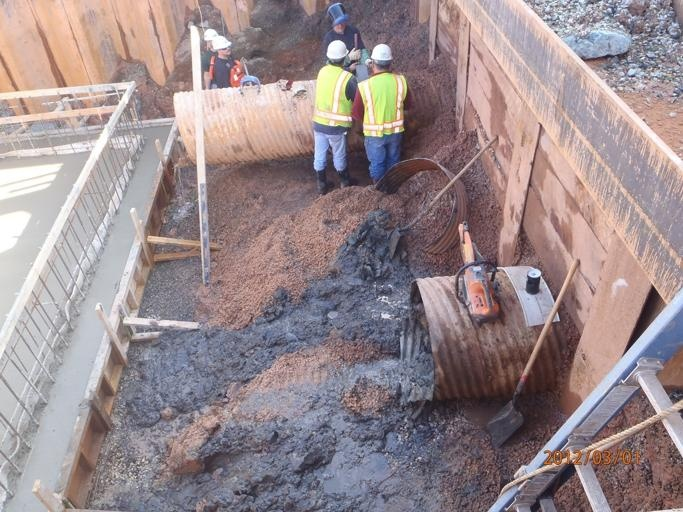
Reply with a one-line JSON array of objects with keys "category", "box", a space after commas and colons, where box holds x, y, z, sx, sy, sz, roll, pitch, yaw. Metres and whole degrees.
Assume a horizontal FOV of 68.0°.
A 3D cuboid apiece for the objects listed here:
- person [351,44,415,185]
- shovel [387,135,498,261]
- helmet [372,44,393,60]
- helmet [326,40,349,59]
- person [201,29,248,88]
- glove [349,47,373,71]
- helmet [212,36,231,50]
[{"category": "person", "box": [0.542, -1.851, 6.828, 0.660, 2.043, 0.766, -11, 38, -7]}, {"category": "shovel", "box": [1.262, -0.616, 6.042, 0.342, 1.466, 0.931, -6, 58, -51]}, {"category": "helmet", "box": [0.496, -2.528, 6.240, 0.215, 0.165, 0.283, 4, 43, 11]}, {"category": "helmet", "box": [-0.076, -2.694, 6.588, 0.241, 0.197, 0.284, -8, 41, -2]}, {"category": "person", "box": [-1.969, -3.107, 8.209, 0.765, 0.804, 0.389, 10, 40, 18]}, {"category": "glove", "box": [0.250, -2.852, 7.277, 0.287, 0.192, 0.495, 2, 71, -7]}, {"category": "helmet", "box": [-1.951, -3.374, 8.060, 0.320, 0.212, 0.238, 4, 41, 12]}]
